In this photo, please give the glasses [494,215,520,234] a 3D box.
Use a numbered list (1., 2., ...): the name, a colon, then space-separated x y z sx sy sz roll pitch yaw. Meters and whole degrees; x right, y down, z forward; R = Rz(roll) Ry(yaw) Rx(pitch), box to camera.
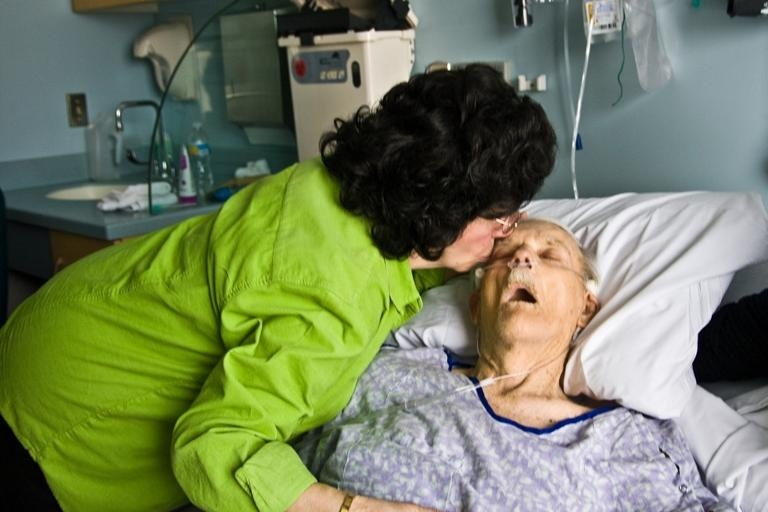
1. glasses: 0.382 -0.094 1.960 0.054 0.019 0.054 17 22 41
